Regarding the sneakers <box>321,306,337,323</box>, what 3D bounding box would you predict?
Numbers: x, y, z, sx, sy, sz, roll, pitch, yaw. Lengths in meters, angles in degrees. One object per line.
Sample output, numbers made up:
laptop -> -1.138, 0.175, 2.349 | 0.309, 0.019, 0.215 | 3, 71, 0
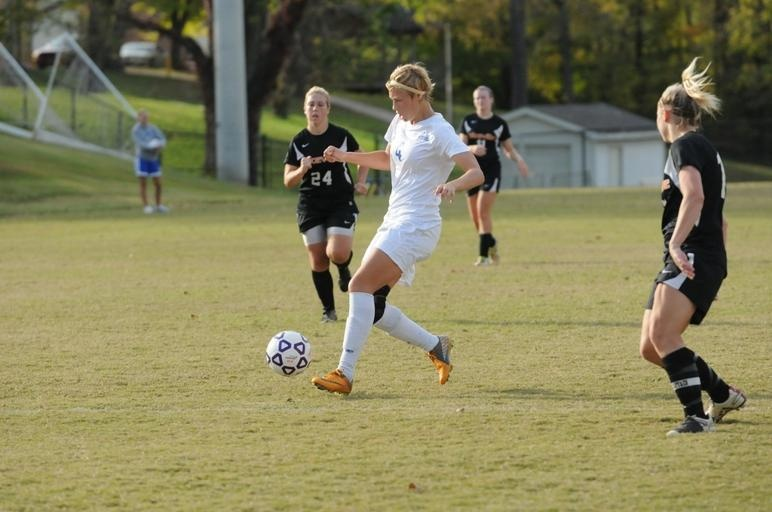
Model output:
sneakers -> -0.525, 0.539, 13.467 | 0.107, 0.133, 0.046 | 3, 3, -9

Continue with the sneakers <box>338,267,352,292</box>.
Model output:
sneakers -> -0.387, 0.210, 13.676 | 0.093, 0.252, 0.187 | -1, 11, 3

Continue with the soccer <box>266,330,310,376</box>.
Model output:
soccer -> -0.796, 0.768, 11.859 | 0.358, 0.363, 0.332 | 2, 36, -12

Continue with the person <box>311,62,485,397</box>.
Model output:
person -> 0.183, -0.224, 11.544 | 1.172, 2.604, 0.561 | 1, 4, 1

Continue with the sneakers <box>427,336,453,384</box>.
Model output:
sneakers -> 0.485, 0.823, 11.742 | 0.226, 0.413, 0.145 | -1, -7, -33

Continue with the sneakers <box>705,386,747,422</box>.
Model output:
sneakers -> 2.618, 1.129, 11.023 | 0.127, 0.270, 0.096 | 32, 34, -27

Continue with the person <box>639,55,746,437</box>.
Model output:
person -> 2.324, -0.099, 10.936 | 0.650, 2.826, 0.494 | -3, 5, -34

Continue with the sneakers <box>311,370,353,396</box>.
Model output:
sneakers -> -0.399, 0.994, 11.478 | 0.341, 0.177, 0.151 | 17, -19, -4

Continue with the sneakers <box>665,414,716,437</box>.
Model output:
sneakers -> 2.328, 1.275, 10.904 | 0.406, 0.149, 0.137 | -3, -5, -8
